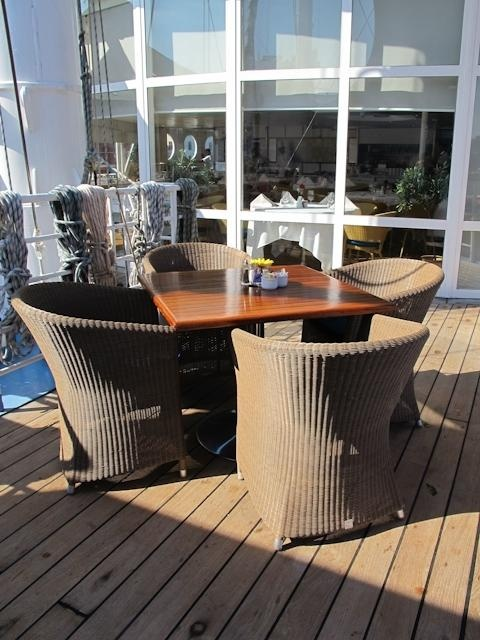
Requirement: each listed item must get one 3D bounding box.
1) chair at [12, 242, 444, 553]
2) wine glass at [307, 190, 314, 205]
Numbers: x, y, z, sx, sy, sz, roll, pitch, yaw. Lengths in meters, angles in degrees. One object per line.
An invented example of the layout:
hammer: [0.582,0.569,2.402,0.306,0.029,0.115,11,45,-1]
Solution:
chair: [-0.007,0.123,1.915,1.056,0.602,1.199,-8,26,-18]
wine glass: [0.738,-1.295,5.007,0.098,0.153,0.093,-5,20,-15]
